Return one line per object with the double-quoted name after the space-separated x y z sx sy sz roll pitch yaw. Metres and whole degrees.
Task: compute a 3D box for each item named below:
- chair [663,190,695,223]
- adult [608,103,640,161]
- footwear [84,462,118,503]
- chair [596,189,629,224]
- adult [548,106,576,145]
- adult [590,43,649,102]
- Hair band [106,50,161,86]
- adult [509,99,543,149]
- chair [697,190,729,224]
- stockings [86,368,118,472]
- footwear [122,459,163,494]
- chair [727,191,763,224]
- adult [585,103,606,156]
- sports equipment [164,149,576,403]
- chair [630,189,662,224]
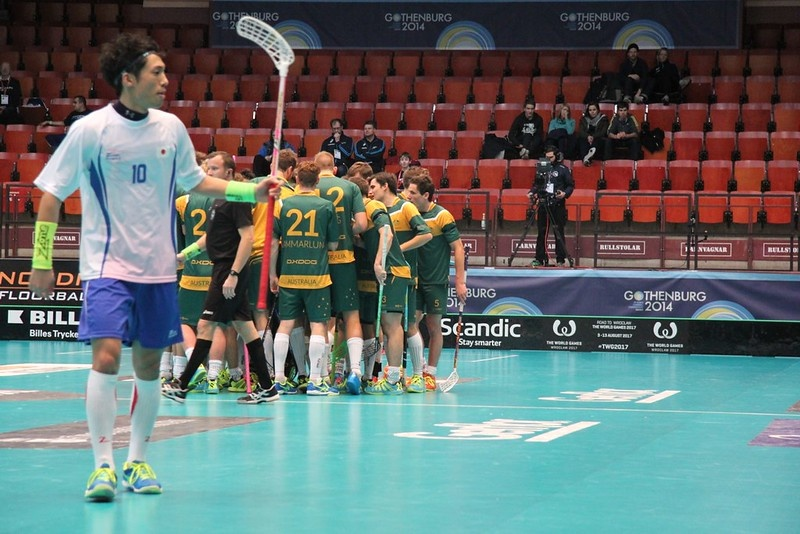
5.314 -1.129 16.911 0.659 0.836 0.706 3 9 9 "chair"
4.771 -2.888 18.924 0.640 1.237 0.465 0 -2 25 "adult"
-2.109 1.518 6.180 0.205 0.253 0.185 1 -2 -20 "footwear"
4.080 -1.153 16.917 0.654 0.828 0.669 2 13 12 "chair"
3.475 -3.042 19.123 0.488 1.021 0.694 -1 -2 32 "adult"
5.420 -4.456 20.526 1.096 1.215 1.888 -2 20 2 "adult"
-1.940 -1.429 6.312 0.374 0.283 0.140 1 -2 0 "Hair band"
2.755 -3.053 19.011 0.680 1.106 1.156 3 -8 4 "adult"
5.959 -1.103 16.771 0.535 0.709 0.748 2 10 12 "chair"
-2.140 1.088 6.266 0.194 0.706 0.184 1 -2 -21 "stockings"
-1.870 1.524 6.350 0.170 0.144 0.324 2 -2 -40 "footwear"
6.489 -1.103 16.582 0.576 0.580 1.208 0 -2 21 "chair"
4.199 -2.941 18.937 0.483 1.134 0.465 0 -2 13 "adult"
0.304 -0.015 11.684 6.095 3.525 1.471 -3 1 2 "sports equipment"
4.791 -1.165 16.978 0.637 0.697 0.612 3 5 8 "chair"
